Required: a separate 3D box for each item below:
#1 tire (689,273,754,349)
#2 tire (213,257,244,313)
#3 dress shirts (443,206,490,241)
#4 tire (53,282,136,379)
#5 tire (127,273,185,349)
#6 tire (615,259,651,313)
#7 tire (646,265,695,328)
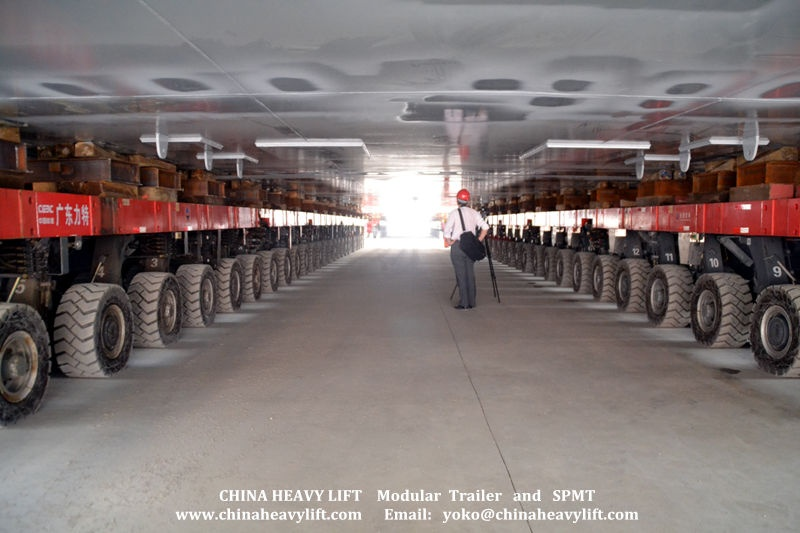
[{"bbox_3d":[5.334,0.746,8.848,0.412,1.189,1.153,2,2,-6],"label":"tire"},{"bbox_3d":[-4.230,0.431,12.826,0.338,1.100,1.053,3,-3,-15],"label":"tire"},{"bbox_3d":[1.592,-1.132,13.041,1.154,1.109,0.751,2,15,5],"label":"dress shirts"},{"bbox_3d":[-4.312,0.933,7.618,0.460,1.324,1.299,0,15,-6],"label":"tire"},{"bbox_3d":[-4.247,0.748,9.379,0.443,1.317,1.271,-1,4,-5],"label":"tire"},{"bbox_3d":[5.301,0.452,12.152,0.441,1.227,1.173,1,1,6],"label":"tire"},{"bbox_3d":[5.405,0.624,10.884,0.437,1.253,1.223,2,8,5],"label":"tire"}]
